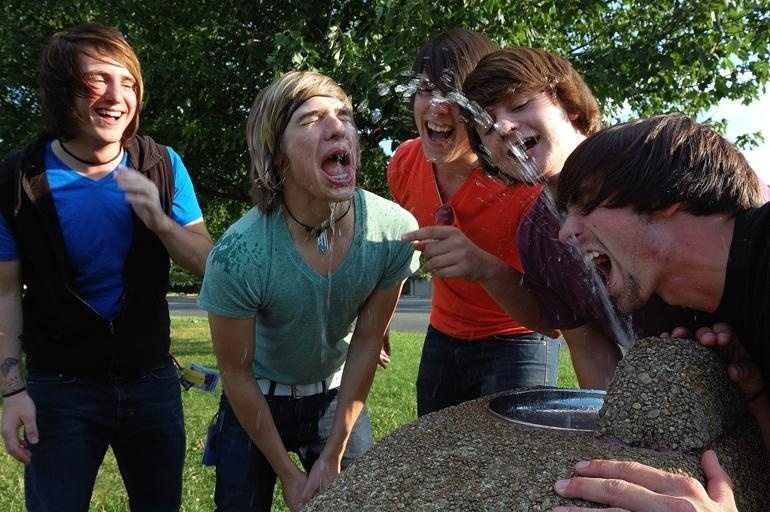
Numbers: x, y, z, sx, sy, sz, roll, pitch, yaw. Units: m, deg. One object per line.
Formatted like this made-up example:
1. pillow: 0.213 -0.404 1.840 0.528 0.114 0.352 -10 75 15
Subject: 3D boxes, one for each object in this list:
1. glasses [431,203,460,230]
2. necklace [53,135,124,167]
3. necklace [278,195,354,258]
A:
1. glasses: 0.416 -0.281 4.581 0.125 0.165 0.056 8 17 22
2. necklace: -1.970 -0.655 4.338 0.240 0.239 0.055 -34 21 7
3. necklace: -0.374 -0.152 3.937 0.236 0.394 0.119 -11 -2 -2
